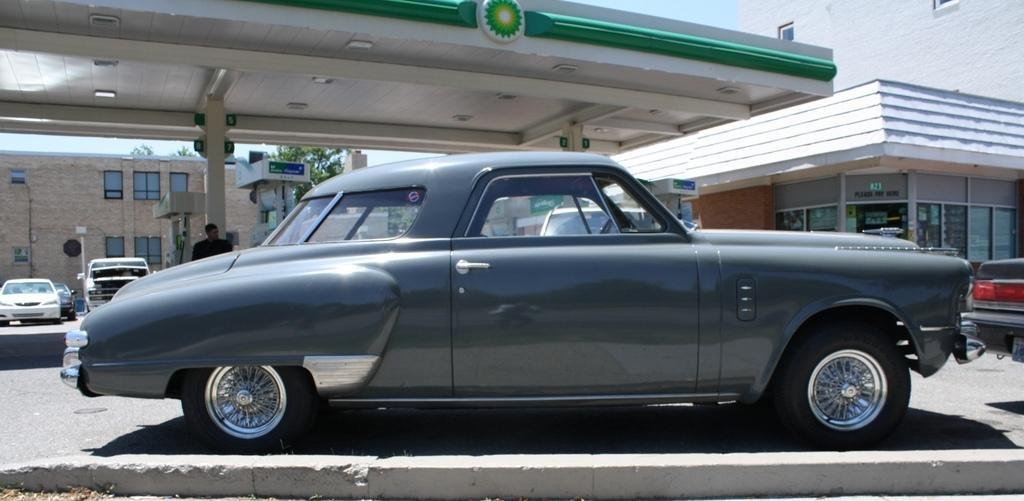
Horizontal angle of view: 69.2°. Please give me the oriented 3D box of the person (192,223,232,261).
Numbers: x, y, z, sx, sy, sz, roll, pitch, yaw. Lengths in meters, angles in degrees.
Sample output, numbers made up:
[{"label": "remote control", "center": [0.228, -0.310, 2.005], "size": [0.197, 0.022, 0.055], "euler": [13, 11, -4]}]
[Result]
[{"label": "person", "center": [-8.309, -0.243, 20.563], "size": [1.259, 0.913, 0.623], "euler": [-4, 9, -13]}]
